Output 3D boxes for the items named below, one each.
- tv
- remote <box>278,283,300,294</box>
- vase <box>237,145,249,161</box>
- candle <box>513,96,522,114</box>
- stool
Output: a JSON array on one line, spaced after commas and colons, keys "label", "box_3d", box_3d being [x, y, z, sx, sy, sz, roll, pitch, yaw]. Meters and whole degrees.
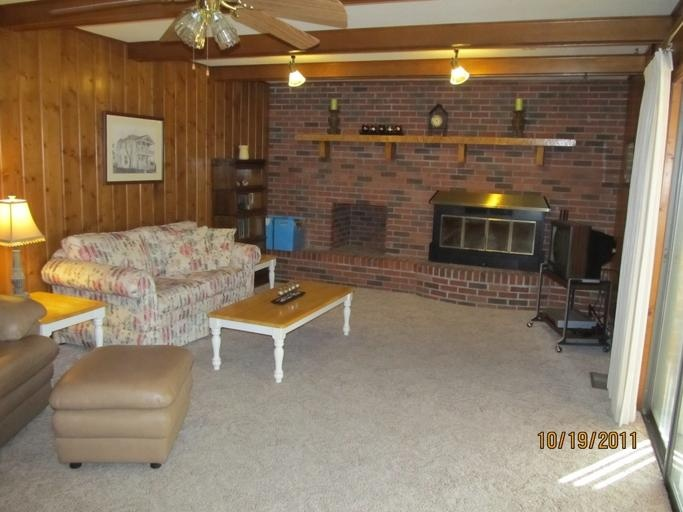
[{"label": "tv", "box_3d": [2.477, -0.069, 5.829, 0.675, 0.549, 0.656, -2, 9, -3]}, {"label": "remote", "box_3d": [-0.513, 0.325, 5.411, 0.077, 0.079, 0.307, -2, 1, 24]}, {"label": "vase", "box_3d": [-1.338, -1.447, 7.574, 0.185, 0.221, 0.228, 0, 0, 14]}, {"label": "candle", "box_3d": [2.299, -1.952, 6.950, 0.125, 0.204, 0.288, 6, 10, 16]}, {"label": "stool", "box_3d": [-1.445, 0.981, 3.712, 0.812, 0.614, 0.769, 1, 10, -3]}]
